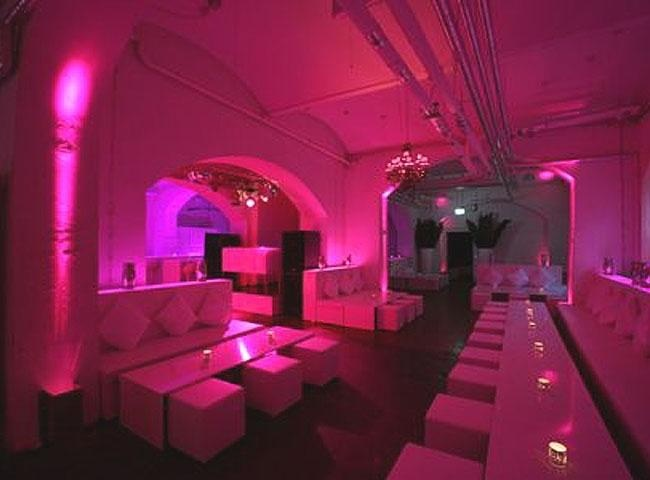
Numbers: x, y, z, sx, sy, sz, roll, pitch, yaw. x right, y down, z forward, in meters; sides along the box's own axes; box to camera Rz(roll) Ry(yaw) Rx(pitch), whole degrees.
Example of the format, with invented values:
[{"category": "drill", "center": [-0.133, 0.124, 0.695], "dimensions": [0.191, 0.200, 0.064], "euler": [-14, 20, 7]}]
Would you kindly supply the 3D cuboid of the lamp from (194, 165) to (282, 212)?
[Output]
[{"category": "lamp", "center": [-1.978, -1.197, 9.546], "dimensions": [1.028, 0.398, 0.944], "euler": [-3, -13, 35]}]
